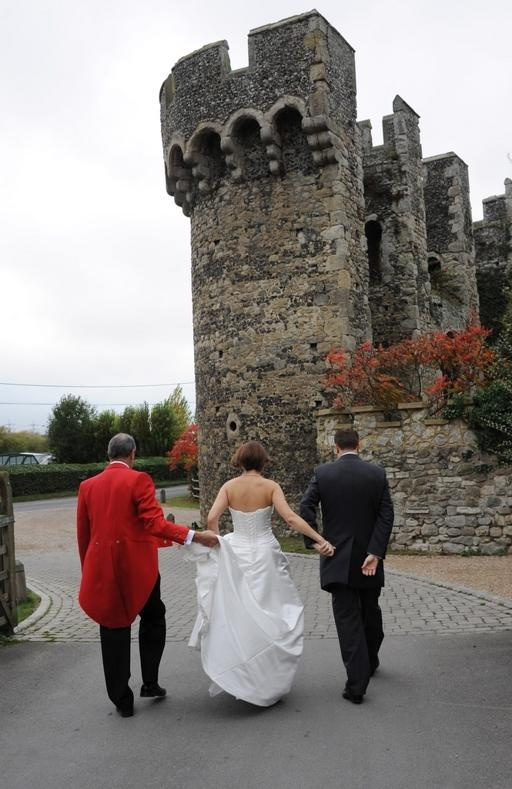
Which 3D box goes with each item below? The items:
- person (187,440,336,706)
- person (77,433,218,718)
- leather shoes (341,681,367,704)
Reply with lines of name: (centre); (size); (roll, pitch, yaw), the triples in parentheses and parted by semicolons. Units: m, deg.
person: (0.062, 1.069, 4.084); (0.868, 1.620, 0.560); (1, 10, 5)
person: (-0.724, 1.041, 3.969); (0.804, 1.640, 0.502); (-3, -6, -2)
leather shoes: (0.569, 1.718, 3.786); (0.131, 0.099, 0.146); (-4, -6, 8)
